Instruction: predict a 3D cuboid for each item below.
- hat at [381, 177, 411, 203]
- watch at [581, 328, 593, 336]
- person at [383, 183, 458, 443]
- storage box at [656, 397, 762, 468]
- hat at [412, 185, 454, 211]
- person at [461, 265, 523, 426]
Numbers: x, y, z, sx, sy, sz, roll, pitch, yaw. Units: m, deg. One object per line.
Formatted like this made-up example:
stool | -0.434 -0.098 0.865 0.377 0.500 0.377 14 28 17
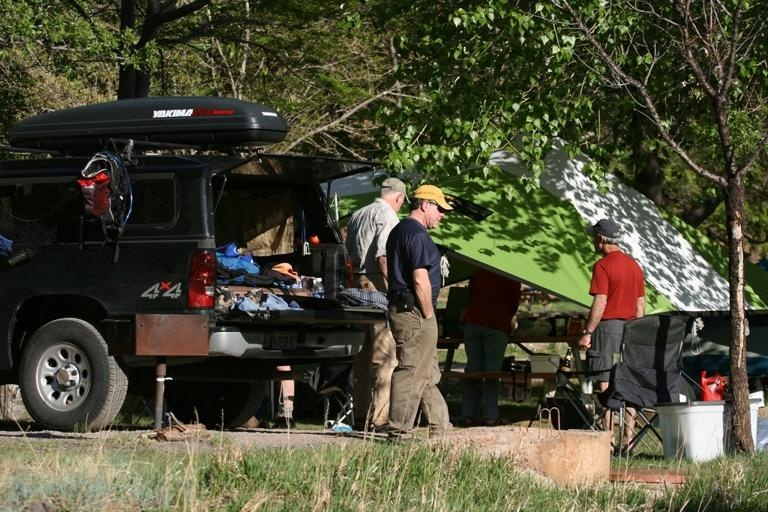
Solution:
hat | 0.055 -0.755 14.791 0.321 0.218 0.528 8 1 33
watch | 2.401 0.891 15.052 0.116 0.067 0.114 3 -3 -29
person | 0.354 0.533 13.408 0.663 2.617 0.455 2 -6 -10
storage box | 3.714 1.995 14.653 0.951 0.531 0.632 0 -3 -29
hat | 0.545 -0.631 13.672 0.405 0.204 0.255 15 6 -13
person | 1.383 1.178 16.901 0.723 2.022 0.931 5 -7 -31
